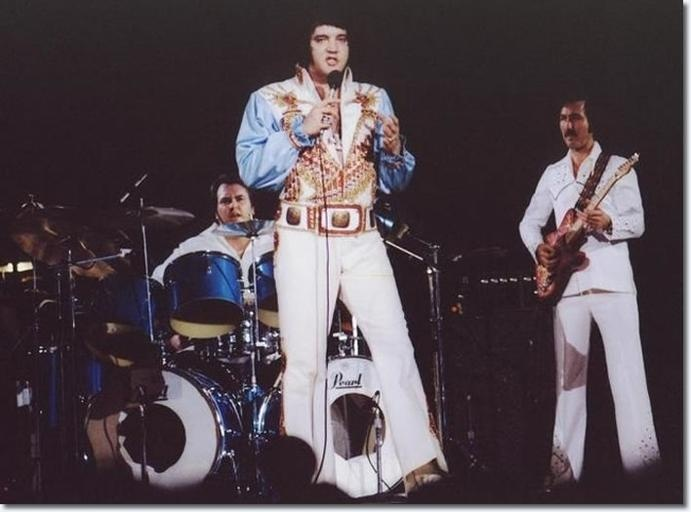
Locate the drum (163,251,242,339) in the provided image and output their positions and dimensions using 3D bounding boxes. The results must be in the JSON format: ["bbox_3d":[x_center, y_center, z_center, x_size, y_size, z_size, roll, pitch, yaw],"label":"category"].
[{"bbox_3d":[-0.767,0.215,4.150,0.411,0.292,0.431,-9,-28,-5],"label":"drum"}]

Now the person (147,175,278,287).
[{"bbox_3d":[-0.621,-0.161,4.325,0.855,0.605,0.368,-5,-11,-1],"label":"person"}]

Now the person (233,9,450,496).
[{"bbox_3d":[-0.053,-0.002,4.018,1.010,2.454,0.657,-2,8,-9],"label":"person"}]

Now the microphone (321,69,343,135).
[{"bbox_3d":[-0.068,-0.807,4.012,0.118,0.338,0.059,11,17,5],"label":"microphone"}]
